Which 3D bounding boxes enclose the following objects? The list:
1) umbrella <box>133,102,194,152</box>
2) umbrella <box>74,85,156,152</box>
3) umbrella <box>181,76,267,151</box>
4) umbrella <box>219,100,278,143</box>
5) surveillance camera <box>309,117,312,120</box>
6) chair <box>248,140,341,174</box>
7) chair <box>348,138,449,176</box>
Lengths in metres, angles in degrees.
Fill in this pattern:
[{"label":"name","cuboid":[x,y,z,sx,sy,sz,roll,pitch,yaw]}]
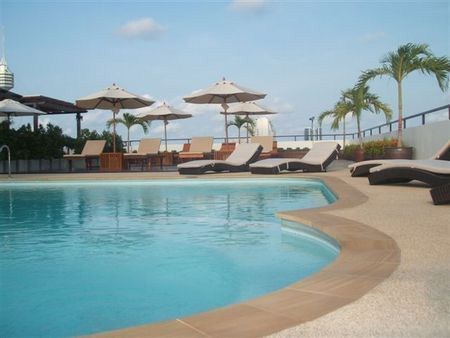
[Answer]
[{"label":"umbrella","cuboid":[-2.993,-2.320,18.861,2.228,1.763,2.343,11,18,32]},{"label":"umbrella","cuboid":[-4.569,-2.195,15.498,2.995,2.246,3.107,8,18,12]},{"label":"umbrella","cuboid":[0.065,-2.223,14.674,2.809,1.930,2.705,-1,-5,-44]},{"label":"umbrella","cuboid":[1.050,-2.378,18.846,2.297,1.345,2.252,-1,2,16]},{"label":"surveillance camera","cuboid":[7.580,-4.531,33.332,0.186,0.226,0.321,-3,4,-33]},{"label":"chair","cuboid":[2.602,-0.240,11.871,2.012,0.677,1.026,-10,-7,6]},{"label":"chair","cuboid":[3.835,-0.174,8.447,1.999,0.692,1.053,0,1,22]}]
